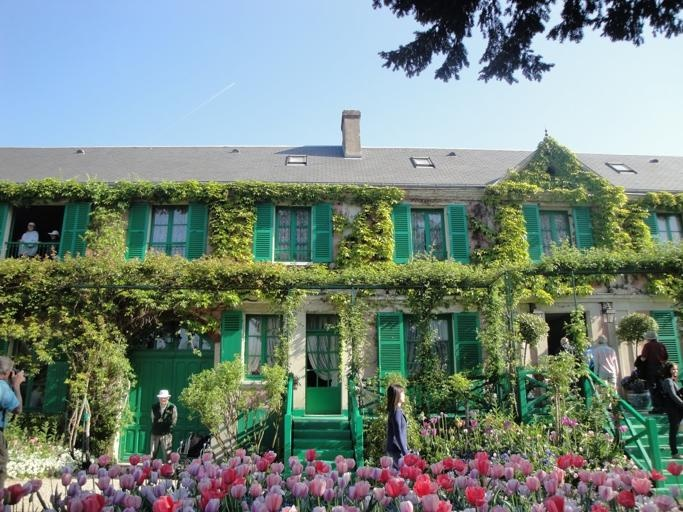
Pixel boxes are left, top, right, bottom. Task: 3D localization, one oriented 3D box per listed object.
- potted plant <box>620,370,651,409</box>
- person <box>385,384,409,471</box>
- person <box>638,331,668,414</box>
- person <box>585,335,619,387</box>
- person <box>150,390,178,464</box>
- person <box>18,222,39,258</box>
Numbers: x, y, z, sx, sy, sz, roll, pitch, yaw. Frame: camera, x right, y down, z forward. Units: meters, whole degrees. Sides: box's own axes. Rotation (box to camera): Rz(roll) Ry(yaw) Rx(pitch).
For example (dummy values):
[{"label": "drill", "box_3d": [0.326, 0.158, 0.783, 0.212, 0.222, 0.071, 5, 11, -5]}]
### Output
[{"label": "potted plant", "box_3d": [6.413, 2.943, 12.003, 0.675, 0.769, 0.693, -1, -20, -3]}, {"label": "person", "box_3d": [0.738, 2.285, 7.429, 0.276, 1.031, 0.523, -1, -11, 4]}, {"label": "person", "box_3d": [6.335, 2.298, 11.211, 0.511, 1.539, 0.469, -2, 3, 4]}, {"label": "person", "box_3d": [5.973, 2.432, 12.484, 0.579, 1.203, 3.192, -6, -13, 26]}, {"label": "person", "box_3d": [-3.775, 3.598, 11.621, 0.489, 1.480, 0.592, 4, -12, -18]}, {"label": "person", "box_3d": [-8.150, -0.448, 14.357, 0.473, 1.032, 1.074, 7, -13, -31]}]
